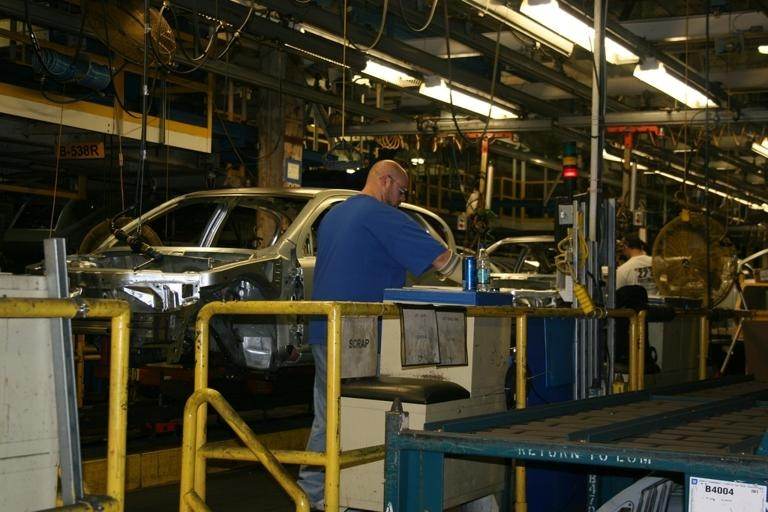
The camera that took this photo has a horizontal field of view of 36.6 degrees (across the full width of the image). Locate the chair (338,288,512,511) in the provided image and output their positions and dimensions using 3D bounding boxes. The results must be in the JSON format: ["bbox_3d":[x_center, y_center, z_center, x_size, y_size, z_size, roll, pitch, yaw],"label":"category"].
[{"bbox_3d":[0.304,1.451,11.860,1.280,2.553,2.241,-3,-7,37],"label":"chair"}]
